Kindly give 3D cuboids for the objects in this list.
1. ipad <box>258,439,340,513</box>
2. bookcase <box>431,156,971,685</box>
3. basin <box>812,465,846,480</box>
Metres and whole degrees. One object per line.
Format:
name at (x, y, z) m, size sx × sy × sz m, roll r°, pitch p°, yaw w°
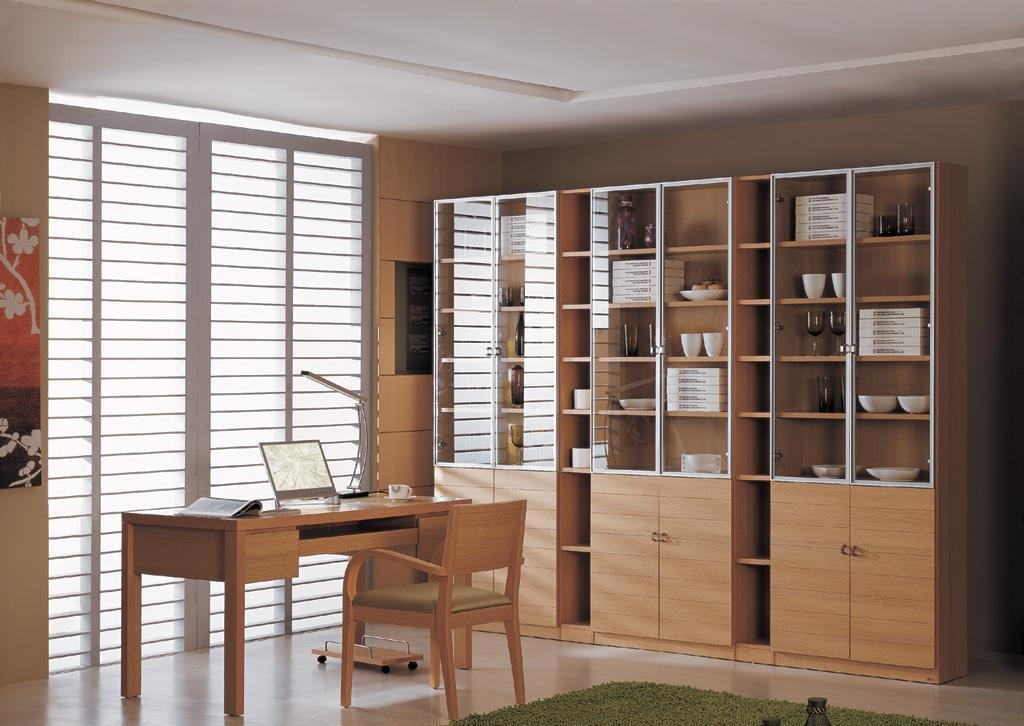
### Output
ipad at (-1.189, 0.600, 4.694) m, size 0.162 × 0.357 × 0.475 m, roll -5°, pitch -7°, yaw 28°
bookcase at (1.257, 0.324, 5.490) m, size 0.596 × 3.058 × 4.378 m, roll 4°, pitch -5°, yaw -43°
basin at (1.828, 0.622, 4.918) m, size 0.110 × 0.031 × 0.112 m, roll 0°, pitch 0°, yaw 0°
